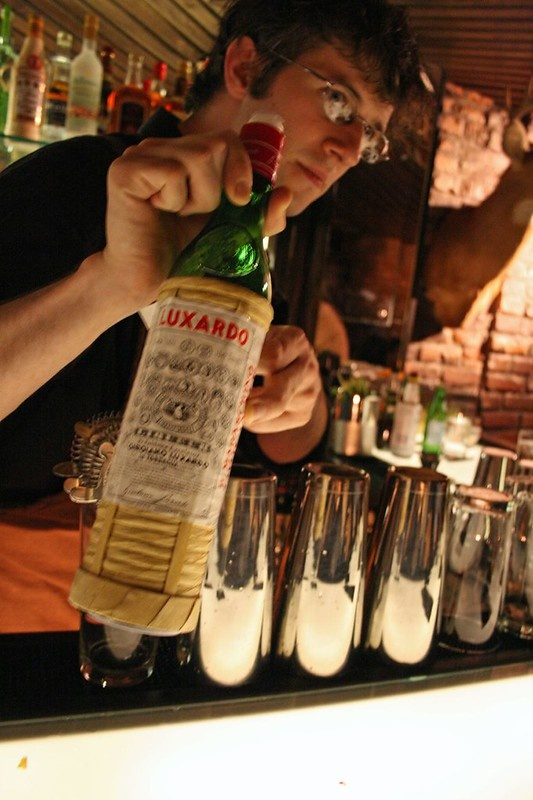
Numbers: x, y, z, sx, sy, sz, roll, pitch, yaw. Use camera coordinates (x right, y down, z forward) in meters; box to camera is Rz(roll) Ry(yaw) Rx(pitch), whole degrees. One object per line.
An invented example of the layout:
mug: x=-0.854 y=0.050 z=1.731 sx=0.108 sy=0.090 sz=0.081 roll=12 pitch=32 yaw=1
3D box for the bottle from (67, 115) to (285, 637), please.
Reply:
bottle: x=-0.050 y=-0.007 z=0.530 sx=0.106 sy=0.423 sz=0.226 roll=10 pitch=8 yaw=17

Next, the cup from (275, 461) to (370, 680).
cup: x=0.052 y=0.151 z=0.595 sx=0.079 sy=0.170 sz=0.063 roll=9 pitch=7 yaw=9

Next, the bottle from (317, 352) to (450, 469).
bottle: x=0.454 y=0.009 z=2.740 sx=0.371 sy=0.519 sz=0.451 roll=0 pitch=2 yaw=-32

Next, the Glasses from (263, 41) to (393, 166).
Glasses: x=0.091 y=-0.455 z=1.020 sx=0.138 sy=0.044 sz=0.143 roll=25 pitch=23 yaw=-54
